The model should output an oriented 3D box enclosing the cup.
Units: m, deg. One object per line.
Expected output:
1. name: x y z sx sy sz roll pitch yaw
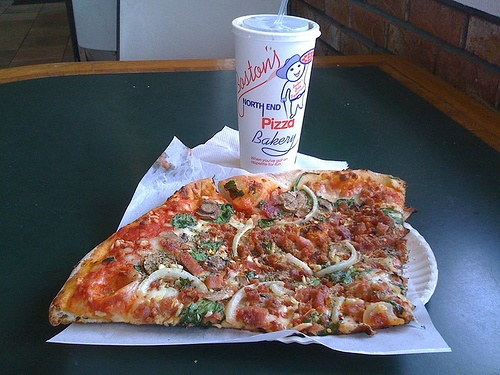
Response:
1. cup: 0.069 -0.241 1.229 0.222 0.396 0.176 -3 42 -2
